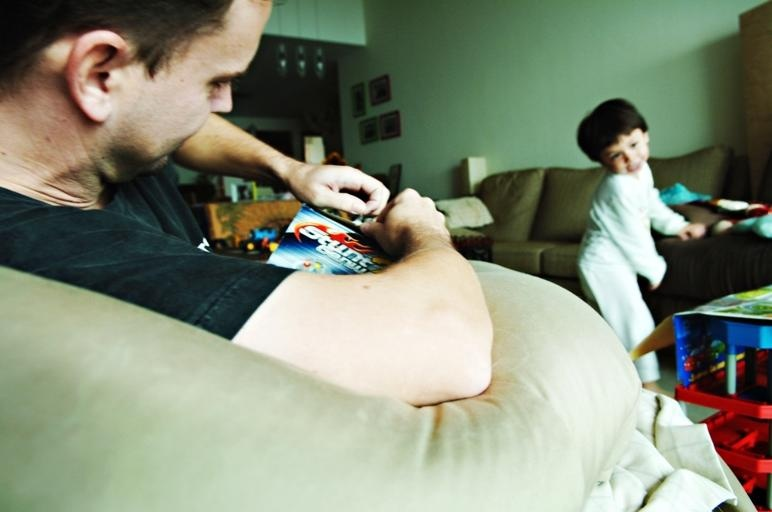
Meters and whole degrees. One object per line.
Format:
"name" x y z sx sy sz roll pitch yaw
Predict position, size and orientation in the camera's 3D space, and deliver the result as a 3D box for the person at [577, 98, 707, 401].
"person" 0.917 -0.040 2.176 0.402 1.056 0.372 -13 23 -6
